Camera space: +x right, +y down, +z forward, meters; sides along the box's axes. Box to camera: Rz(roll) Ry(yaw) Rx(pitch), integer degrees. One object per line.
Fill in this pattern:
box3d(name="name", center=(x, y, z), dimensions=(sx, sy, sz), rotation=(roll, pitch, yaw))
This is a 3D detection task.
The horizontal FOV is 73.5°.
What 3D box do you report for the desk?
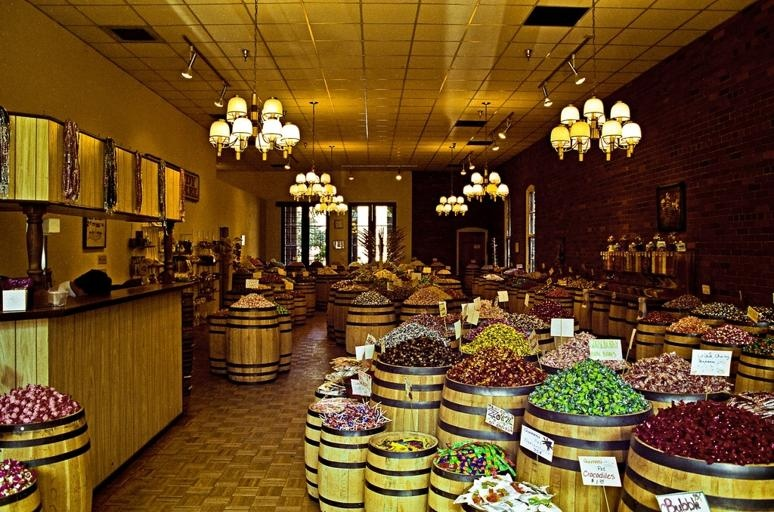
box3d(name="desk", center=(4.256, 0.326, 8.611), dimensions=(0.698, 0.702, 1.911), rotation=(5, -1, -6))
